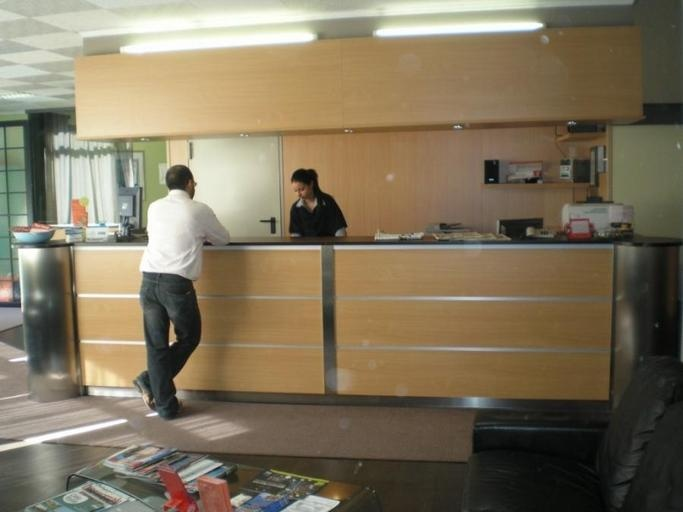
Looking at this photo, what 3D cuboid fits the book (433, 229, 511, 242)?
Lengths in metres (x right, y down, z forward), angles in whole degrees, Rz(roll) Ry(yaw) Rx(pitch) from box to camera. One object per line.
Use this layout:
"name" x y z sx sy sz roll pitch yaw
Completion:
"book" 1.122 -0.175 5.275 0.621 0.041 0.488 0 9 10

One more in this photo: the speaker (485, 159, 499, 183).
"speaker" 1.786 -1.009 7.226 0.180 0.282 0.165 1 10 12

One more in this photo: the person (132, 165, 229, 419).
"person" -1.365 0.305 5.197 0.665 2.118 0.353 -5 11 -22

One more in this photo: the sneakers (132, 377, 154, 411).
"sneakers" -1.732 1.215 5.325 0.138 0.324 0.122 -25 7 -2

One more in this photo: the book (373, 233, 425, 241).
"book" 0.492 -0.175 5.297 0.413 0.058 0.333 -1 9 1

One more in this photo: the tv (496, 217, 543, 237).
"tv" 1.640 -0.252 5.596 0.395 0.141 1.192 2 9 16

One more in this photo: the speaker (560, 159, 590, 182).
"speaker" 2.724 -1.004 7.075 0.289 0.241 0.150 1 0 23

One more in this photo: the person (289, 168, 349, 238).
"person" -0.264 -0.576 6.560 0.592 0.724 0.333 -2 10 -6
